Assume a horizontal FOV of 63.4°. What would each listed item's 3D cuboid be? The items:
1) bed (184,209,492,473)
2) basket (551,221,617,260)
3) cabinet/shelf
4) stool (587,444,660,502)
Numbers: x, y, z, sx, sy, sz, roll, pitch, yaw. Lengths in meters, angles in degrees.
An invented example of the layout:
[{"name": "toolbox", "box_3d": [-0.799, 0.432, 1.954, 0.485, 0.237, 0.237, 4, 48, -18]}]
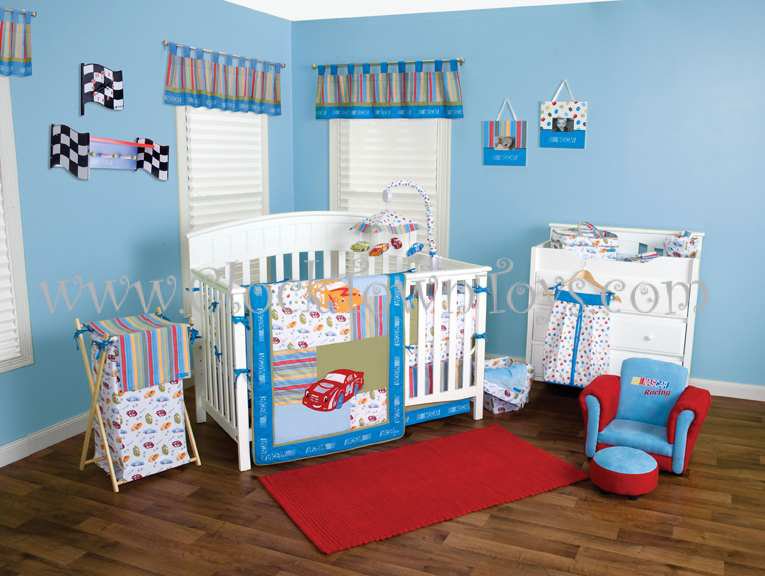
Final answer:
[{"name": "bed", "box_3d": [0.030, 0.356, 4.230, 1.226, 1.367, 1.909, -10, -5, 33]}, {"name": "basket", "box_3d": [1.421, -0.346, 4.404, 0.278, 0.181, 0.358, -5, 12, -27]}, {"name": "cabinet/shelf", "box_3d": [1.586, 0.155, 4.148, 1.064, 1.196, 0.459, 3, 6, 25]}, {"name": "stool", "box_3d": [1.296, 0.952, 3.298, 0.314, 0.148, 0.323, 1, 16, 21]}]
